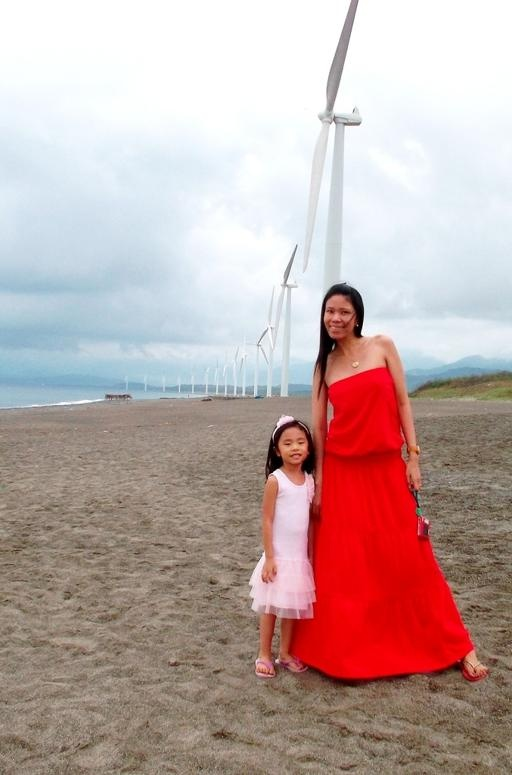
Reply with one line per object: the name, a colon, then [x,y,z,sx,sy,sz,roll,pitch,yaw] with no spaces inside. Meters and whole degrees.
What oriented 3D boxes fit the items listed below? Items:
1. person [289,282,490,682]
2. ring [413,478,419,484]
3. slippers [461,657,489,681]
person: [0.619,0.467,3.065,0.853,2.033,0.414,0,1,0]
ring: [0.823,0.471,3.021,0.024,0.037,0.021,-4,4,-2]
slippers: [1.088,1.396,2.924,0.129,0.080,0.094,0,0,17]
